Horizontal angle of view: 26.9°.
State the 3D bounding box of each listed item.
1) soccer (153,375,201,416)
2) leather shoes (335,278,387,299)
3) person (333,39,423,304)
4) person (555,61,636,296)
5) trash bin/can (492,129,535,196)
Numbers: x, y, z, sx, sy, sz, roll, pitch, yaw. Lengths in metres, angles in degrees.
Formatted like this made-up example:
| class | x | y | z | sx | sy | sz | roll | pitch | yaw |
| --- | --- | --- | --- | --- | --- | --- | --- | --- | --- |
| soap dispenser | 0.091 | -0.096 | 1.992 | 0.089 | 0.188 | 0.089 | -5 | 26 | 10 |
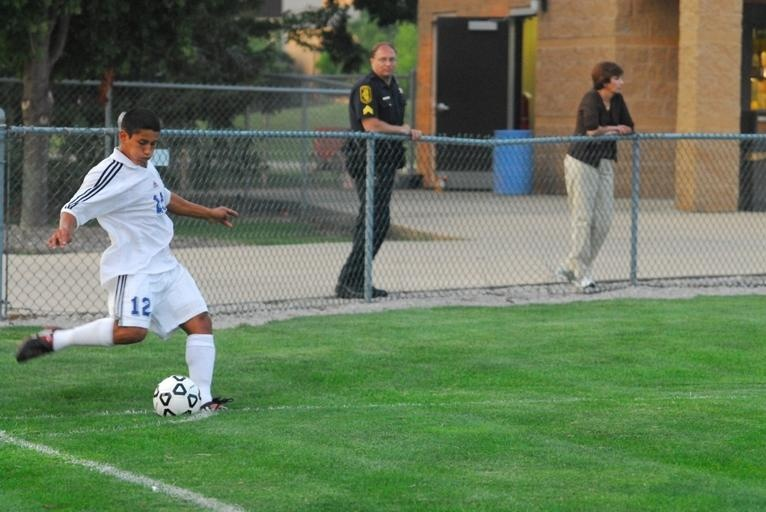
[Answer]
| class | x | y | z | sx | sy | sz | roll | pitch | yaw |
| --- | --- | --- | --- | --- | --- | --- | --- | --- | --- |
| soccer | -1.856 | 1.272 | 14.837 | 0.474 | 0.338 | 0.476 | 0 | 4 | 4 |
| leather shoes | -0.274 | 0.380 | 18.004 | 0.381 | 0.198 | 0.243 | 6 | -3 | -18 |
| person | -0.153 | -0.934 | 18.015 | 0.945 | 2.726 | 1.010 | -1 | -1 | 42 |
| person | 2.475 | -0.915 | 18.440 | 0.782 | 2.609 | 1.118 | 0 | 0 | -43 |
| trash bin/can | 2.068 | -1.500 | 25.591 | 0.649 | 1.071 | 2.203 | 0 | 3 | 5 |
